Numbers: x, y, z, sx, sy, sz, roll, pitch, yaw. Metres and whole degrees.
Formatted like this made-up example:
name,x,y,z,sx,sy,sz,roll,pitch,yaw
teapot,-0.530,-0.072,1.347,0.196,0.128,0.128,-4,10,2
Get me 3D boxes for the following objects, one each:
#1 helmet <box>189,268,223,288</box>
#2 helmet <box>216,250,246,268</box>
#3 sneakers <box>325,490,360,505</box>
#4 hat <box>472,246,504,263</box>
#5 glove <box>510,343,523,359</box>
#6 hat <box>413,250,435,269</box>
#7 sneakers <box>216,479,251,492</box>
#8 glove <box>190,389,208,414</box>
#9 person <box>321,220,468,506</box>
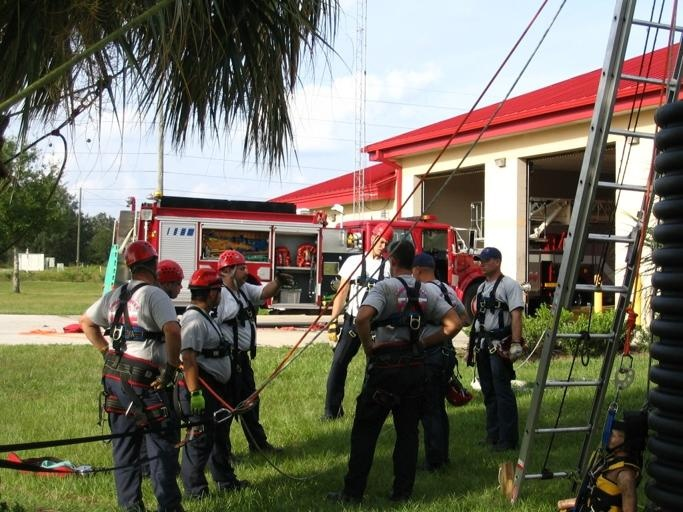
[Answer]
name,x,y,z,sx,sy,sz,roll,pitch,yaw
helmet,-1.159,0.189,6.796,0.264,0.173,0.265,3,-1,-10
helmet,-1.062,0.026,7.584,0.230,0.182,0.188,6,-2,11
sneakers,0.019,2.060,6.759,0.274,0.139,0.110,11,-7,30
hat,1.622,-0.015,8.531,0.222,0.137,0.167,3,-6,-17
glove,1.812,0.978,8.131,0.102,0.164,0.155,3,-16,3
hat,0.823,0.029,7.858,0.137,0.132,0.196,1,4,-10
sneakers,-0.962,2.060,7.045,0.290,0.158,0.104,0,2,-22
glove,-1.196,1.213,6.606,0.129,0.210,0.325,3,0,-10
person,0.501,1.144,6.813,0.921,1.983,0.342,3,-1,-26
